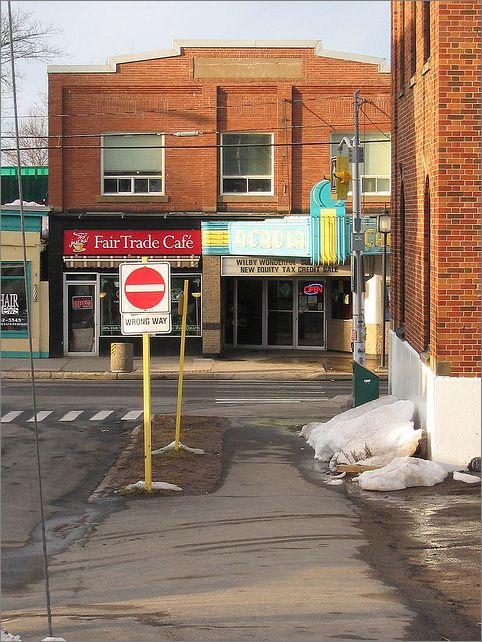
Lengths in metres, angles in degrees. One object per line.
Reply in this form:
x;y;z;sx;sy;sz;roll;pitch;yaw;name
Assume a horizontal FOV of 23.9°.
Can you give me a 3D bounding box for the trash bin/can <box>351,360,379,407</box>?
1.774;0.886;16.043;0.376;0.636;0.429;-5;-4;30;trash bin/can
